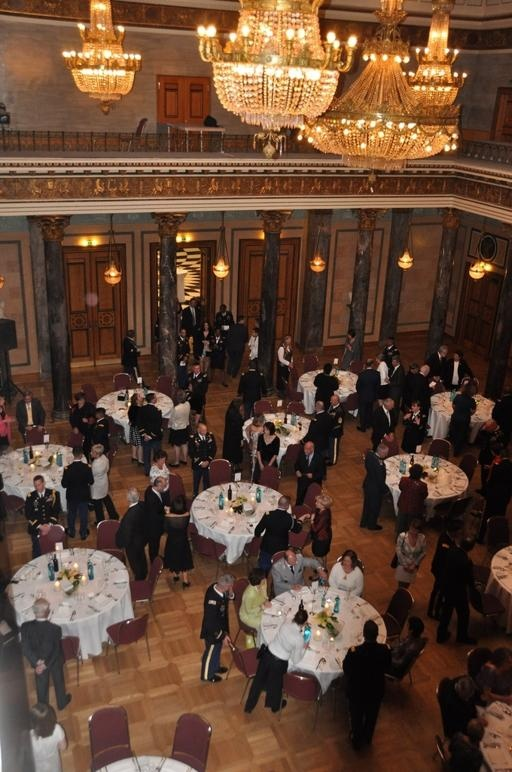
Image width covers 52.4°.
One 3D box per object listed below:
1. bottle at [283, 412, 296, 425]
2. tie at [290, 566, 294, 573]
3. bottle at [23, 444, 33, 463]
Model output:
[{"bbox_3d":[0.675,0.625,10.029,0.150,0.226,0.080,-7,-16,35],"label":"bottle"},{"bbox_3d":[0.397,2.051,5.835,0.040,0.080,0.018,-6,-8,13],"label":"tie"},{"bbox_3d":[-3.714,1.098,8.458,0.124,0.243,0.129,10,23,-4],"label":"bottle"}]
